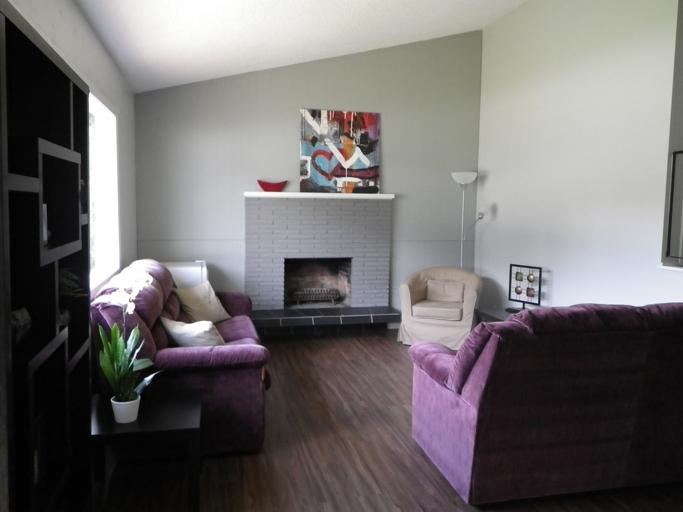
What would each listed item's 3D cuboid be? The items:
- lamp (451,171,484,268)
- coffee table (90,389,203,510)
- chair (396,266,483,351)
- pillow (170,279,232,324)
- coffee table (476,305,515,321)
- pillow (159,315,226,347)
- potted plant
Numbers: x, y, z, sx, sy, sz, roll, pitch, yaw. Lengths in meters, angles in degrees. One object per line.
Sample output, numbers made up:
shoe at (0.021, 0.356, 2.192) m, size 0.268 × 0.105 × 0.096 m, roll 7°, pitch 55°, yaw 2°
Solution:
lamp at (1.573, -0.455, 6.099) m, size 0.381 × 1.253 × 0.683 m, roll 3°, pitch 8°, yaw 18°
coffee table at (-1.085, 0.932, 2.696) m, size 0.587 × 0.660 × 0.639 m, roll 0°, pitch -2°, yaw -9°
chair at (1.149, 0.636, 5.585) m, size 0.908 × 0.941 × 0.874 m, roll 2°, pitch 2°, yaw 9°
pillow at (-1.262, 0.299, 4.360) m, size 0.295 × 0.410 × 0.525 m, roll 2°, pitch 4°, yaw 25°
coffee table at (1.813, 0.658, 5.598) m, size 0.162 × 0.092 × 0.411 m, roll 0°, pitch 2°, yaw -16°
pillow at (-0.972, 0.522, 3.201) m, size 0.238 × 0.085 × 0.226 m, roll 17°, pitch 11°, yaw -35°
potted plant at (-1.120, 0.635, 2.567) m, size 0.258 × 0.497 × 0.308 m, roll -6°, pitch -3°, yaw 39°
